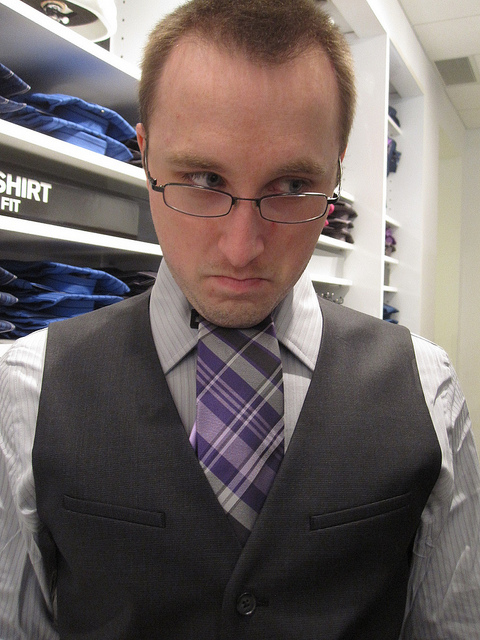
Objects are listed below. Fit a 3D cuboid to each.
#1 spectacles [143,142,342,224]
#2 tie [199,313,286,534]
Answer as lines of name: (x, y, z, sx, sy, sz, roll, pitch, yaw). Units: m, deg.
spectacles: (0.004, -0.130, 0.553, 0.200, 0.039, 0.088, 2, 14, -10)
tie: (0.000, 0.103, 0.540, 0.094, 0.192, 0.124, 3, 14, -5)
